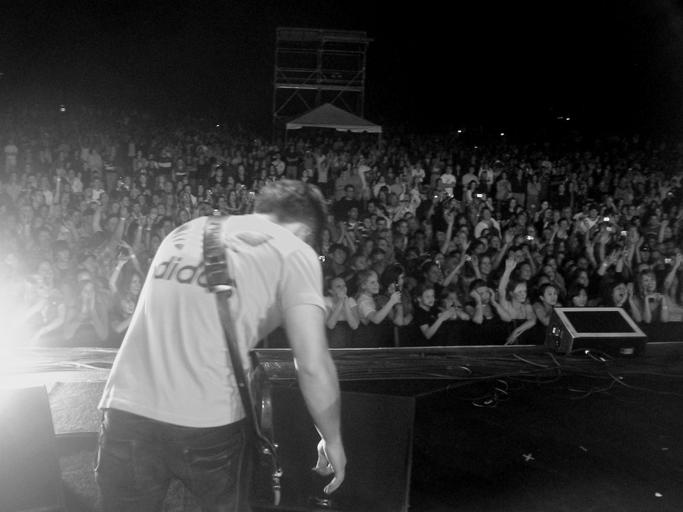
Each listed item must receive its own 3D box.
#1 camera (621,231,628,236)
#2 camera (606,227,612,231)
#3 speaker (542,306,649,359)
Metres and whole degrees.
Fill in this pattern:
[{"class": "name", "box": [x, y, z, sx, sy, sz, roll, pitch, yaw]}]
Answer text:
[{"class": "camera", "box": [3.531, -0.290, 7.710, 0.091, 0.043, 0.125, 2, 10, 22]}, {"class": "camera", "box": [3.248, -0.326, 7.487, 0.071, 0.024, 0.071, -4, 22, -3]}, {"class": "speaker", "box": [1.625, 0.477, 3.930, 0.585, 0.283, 0.286, 1, 4, -5]}]
